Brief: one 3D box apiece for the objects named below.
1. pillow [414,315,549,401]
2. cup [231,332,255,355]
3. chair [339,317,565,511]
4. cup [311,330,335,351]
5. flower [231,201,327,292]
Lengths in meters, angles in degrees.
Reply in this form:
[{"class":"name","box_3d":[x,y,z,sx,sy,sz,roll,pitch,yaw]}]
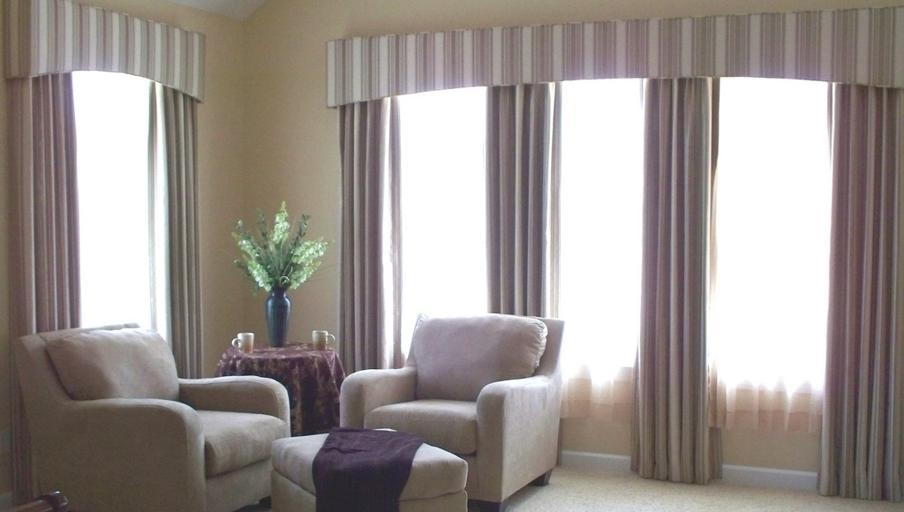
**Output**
[{"class":"pillow","box_3d":[0.117,0.748,6.597,1.276,0.357,1.161,-3,9,-10]},{"class":"cup","box_3d":[-1.860,0.762,6.522,0.261,0.187,0.166,0,-1,3]},{"class":"chair","box_3d":[0.103,1.199,6.442,1.726,1.619,1.599,-2,-9,26]},{"class":"cup","box_3d":[-1.120,0.749,6.592,0.266,0.179,0.167,3,-2,-4]},{"class":"flower","box_3d":[-1.579,-0.046,6.716,0.523,0.554,0.529,-4,2,26]}]
